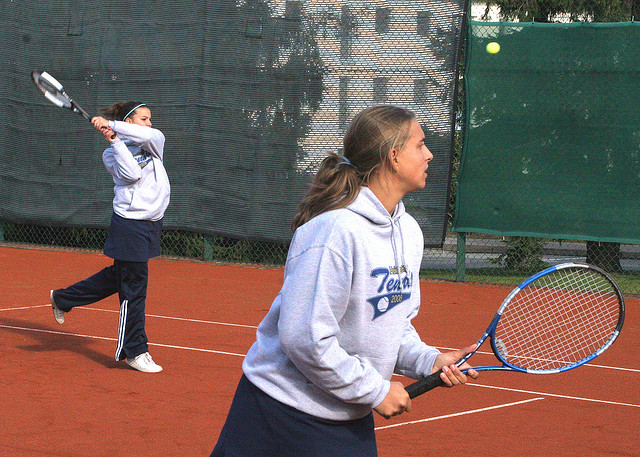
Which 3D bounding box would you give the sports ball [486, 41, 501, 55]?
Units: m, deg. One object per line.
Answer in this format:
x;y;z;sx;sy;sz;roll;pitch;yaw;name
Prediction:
2.309;-2.417;9.344;0.164;0.159;0.089;3;-1;3;sports ball

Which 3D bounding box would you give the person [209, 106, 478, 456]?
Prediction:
0.026;0.263;3.489;0.932;1.760;0.584;4;11;10;person

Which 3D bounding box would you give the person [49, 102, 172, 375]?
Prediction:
-1.649;0.055;6.007;0.781;2.261;1.111;-7;14;-41;person
